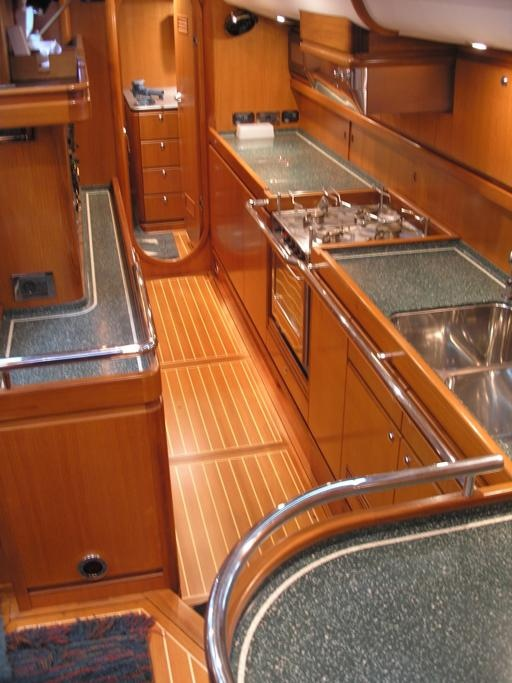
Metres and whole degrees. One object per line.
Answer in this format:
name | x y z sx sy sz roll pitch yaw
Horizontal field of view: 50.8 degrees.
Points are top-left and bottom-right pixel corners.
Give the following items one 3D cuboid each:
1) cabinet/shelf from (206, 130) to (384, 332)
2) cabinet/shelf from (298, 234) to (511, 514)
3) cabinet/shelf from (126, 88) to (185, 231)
cabinet/shelf | 0.214 -0.636 2.881 0.280 0.692 1.102 -2 46 -16
cabinet/shelf | 0.472 0.051 1.656 0.269 0.754 0.692 -7 33 -13
cabinet/shelf | -0.953 -1.968 5.417 0.492 1.283 0.840 -7 51 -13
